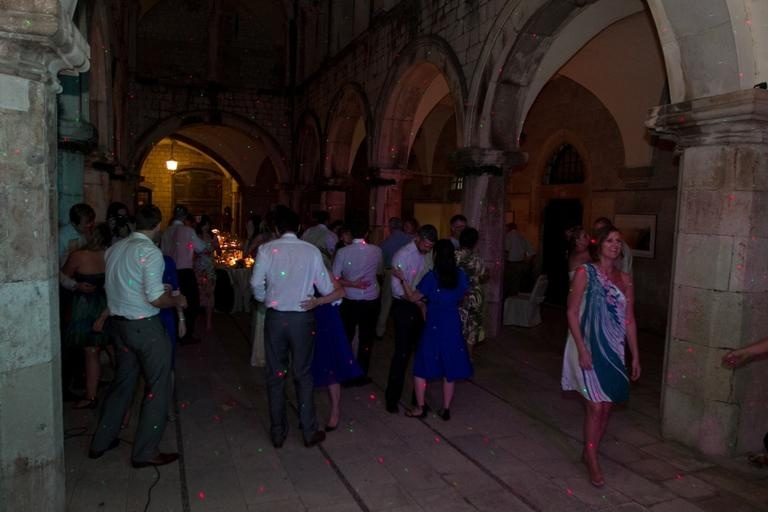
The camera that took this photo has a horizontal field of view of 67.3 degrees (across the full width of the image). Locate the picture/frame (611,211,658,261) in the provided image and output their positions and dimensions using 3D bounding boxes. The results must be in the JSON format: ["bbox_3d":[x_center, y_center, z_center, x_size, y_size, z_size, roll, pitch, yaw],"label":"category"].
[{"bbox_3d":[4.862,-0.416,11.328,0.818,0.876,0.016,4,24,28],"label":"picture/frame"}]

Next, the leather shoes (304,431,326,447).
[{"bbox_3d":[-0.667,1.786,5.627,0.098,0.099,0.209,12,24,44],"label":"leather shoes"}]

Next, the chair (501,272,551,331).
[{"bbox_3d":[2.328,0.699,9.897,0.775,1.041,0.810,6,8,34],"label":"chair"}]

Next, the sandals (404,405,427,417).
[{"bbox_3d":[0.347,1.677,6.211,0.204,0.082,0.116,2,17,3],"label":"sandals"}]
